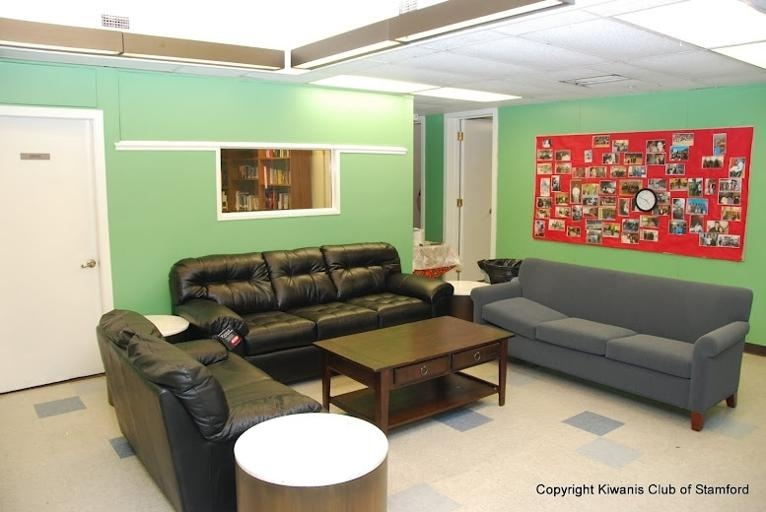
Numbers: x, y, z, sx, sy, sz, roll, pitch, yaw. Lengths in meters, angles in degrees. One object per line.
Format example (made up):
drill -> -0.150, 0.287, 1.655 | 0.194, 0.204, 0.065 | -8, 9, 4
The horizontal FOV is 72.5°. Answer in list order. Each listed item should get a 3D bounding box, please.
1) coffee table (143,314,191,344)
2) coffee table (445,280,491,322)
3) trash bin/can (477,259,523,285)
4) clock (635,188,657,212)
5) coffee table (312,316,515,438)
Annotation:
coffee table -> -2.051, 0.657, 5.010 | 0.340, 0.100, 0.334 | 0, 7, -43
coffee table -> 1.102, 0.579, 6.950 | 0.490, 0.345, 0.599 | 0, 3, 0
trash bin/can -> 1.783, 0.189, 7.691 | 0.475, 0.327, 0.472 | -4, 7, -21
clock -> 3.464, -0.746, 6.834 | 0.042, 0.336, 0.335 | 1, -2, -33
coffee table -> 0.143, 0.704, 4.786 | 1.708, 0.690, 0.962 | -5, 8, -39
